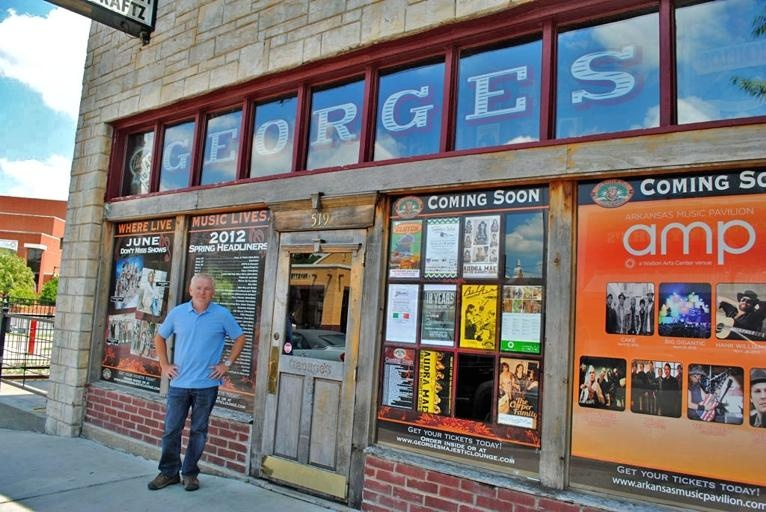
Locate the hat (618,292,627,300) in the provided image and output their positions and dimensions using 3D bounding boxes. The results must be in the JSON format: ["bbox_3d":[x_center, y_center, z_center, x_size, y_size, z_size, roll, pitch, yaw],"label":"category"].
[{"bbox_3d":[2.151,0.365,5.183,0.046,0.051,0.055,2,-31,15],"label":"hat"}]

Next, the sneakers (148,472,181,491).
[{"bbox_3d":[-2.343,2.425,6.175,0.123,0.157,0.368,-12,-17,43],"label":"sneakers"}]

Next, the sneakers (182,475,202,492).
[{"bbox_3d":[-2.060,2.411,6.180,0.181,0.170,0.249,-5,2,-20],"label":"sneakers"}]

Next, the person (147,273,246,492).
[{"bbox_3d":[-2.024,1.346,6.202,1.042,2.259,0.400,-5,2,-14],"label":"person"}]

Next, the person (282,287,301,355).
[{"bbox_3d":[-1.069,0.751,6.695,0.195,0.784,0.168,3,-5,-18],"label":"person"}]
